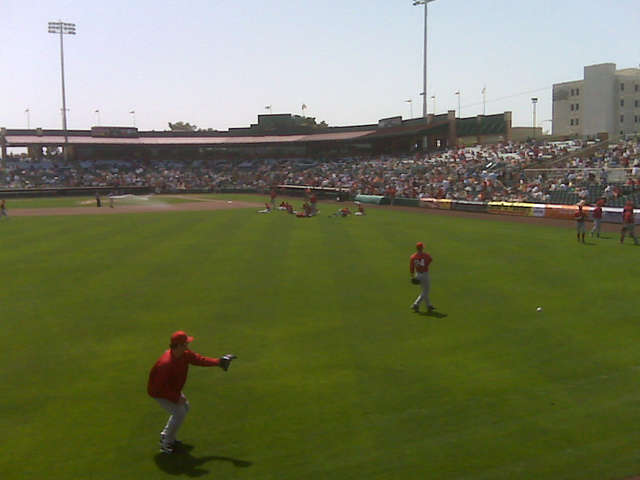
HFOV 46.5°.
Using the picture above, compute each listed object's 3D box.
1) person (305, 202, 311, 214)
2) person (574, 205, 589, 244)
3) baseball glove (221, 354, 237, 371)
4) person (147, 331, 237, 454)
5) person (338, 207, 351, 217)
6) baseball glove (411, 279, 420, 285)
[{"bbox_3d":[-0.678,-1.781,42.026,0.277,0.583,0.454,1,13,12],"label":"person"},{"bbox_3d":[10.679,-0.677,30.545,0.367,1.506,1.364,2,13,18],"label":"person"},{"bbox_3d":[-1.971,2.623,15.925,0.286,0.287,0.191,-10,15,-33],"label":"baseball glove"},{"bbox_3d":[-3.069,3.303,16.088,1.224,2.663,0.455,-5,14,-11],"label":"person"},{"bbox_3d":[1.314,-1.543,41.485,0.528,0.464,0.981,-1,10,1],"label":"person"},{"bbox_3d":[2.705,1.183,21.141,0.230,0.180,0.265,0,11,7],"label":"baseball glove"}]
